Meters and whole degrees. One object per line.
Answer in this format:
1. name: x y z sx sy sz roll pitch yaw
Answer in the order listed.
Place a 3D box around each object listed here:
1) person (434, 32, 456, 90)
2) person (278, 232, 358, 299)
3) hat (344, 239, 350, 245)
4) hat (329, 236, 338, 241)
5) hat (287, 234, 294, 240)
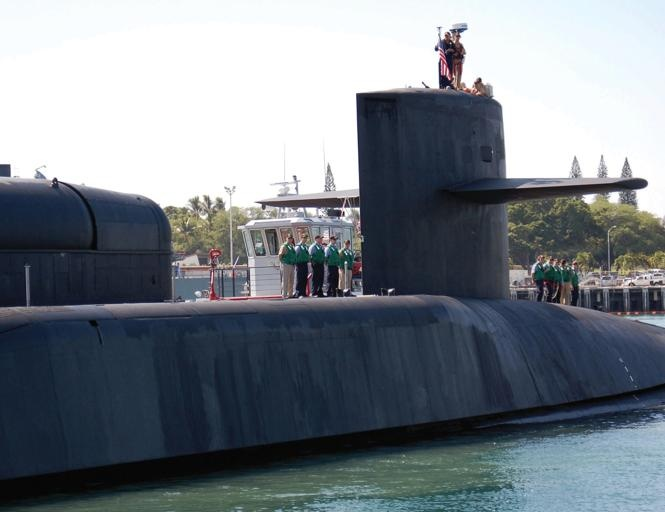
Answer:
1. person: 2.126 -3.588 24.538 0.396 0.995 0.434 -3 -1 -10
2. person: -0.363 0.235 27.316 1.325 1.943 0.514 4 -23 -11
3. hat: 0.336 -0.316 30.599 0.209 0.090 0.305 1 1 0
4. hat: 0.017 -0.417 31.369 0.247 0.084 0.255 1 0 32
5. hat: -0.853 -0.377 26.946 0.163 0.079 0.225 -1 2 0
